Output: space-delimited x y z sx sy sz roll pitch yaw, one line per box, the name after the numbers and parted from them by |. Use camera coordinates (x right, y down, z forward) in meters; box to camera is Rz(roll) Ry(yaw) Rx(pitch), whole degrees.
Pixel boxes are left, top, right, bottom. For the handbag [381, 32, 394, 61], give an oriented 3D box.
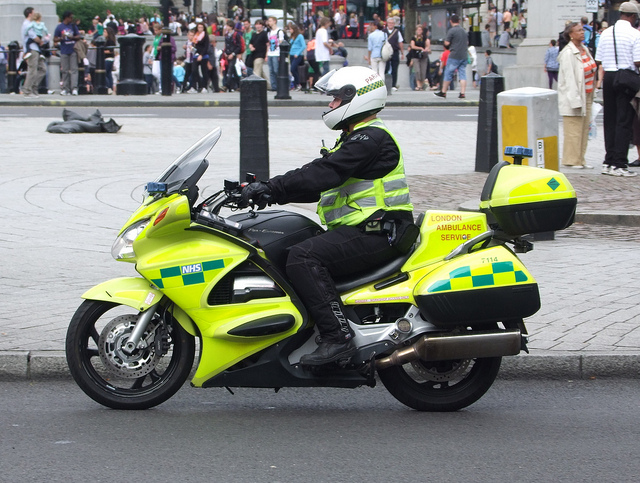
1.972 -5.729 26.327 0.272 0.692 0.501 4 11 32 | handbag

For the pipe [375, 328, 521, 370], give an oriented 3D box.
0.794 0.667 5.517 1.083 0.177 0.153 -10 -21 36 | pipe

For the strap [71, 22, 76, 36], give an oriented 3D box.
-7.044 -6.069 25.367 0.085 0.341 0.356 -5 10 -16 | strap

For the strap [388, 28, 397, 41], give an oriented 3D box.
2.157 -6.194 26.500 0.270 0.294 0.172 -2 10 0 | strap

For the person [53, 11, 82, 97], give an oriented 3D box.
-7.327 -5.410 25.465 0.990 2.321 0.958 12 17 41 | person
